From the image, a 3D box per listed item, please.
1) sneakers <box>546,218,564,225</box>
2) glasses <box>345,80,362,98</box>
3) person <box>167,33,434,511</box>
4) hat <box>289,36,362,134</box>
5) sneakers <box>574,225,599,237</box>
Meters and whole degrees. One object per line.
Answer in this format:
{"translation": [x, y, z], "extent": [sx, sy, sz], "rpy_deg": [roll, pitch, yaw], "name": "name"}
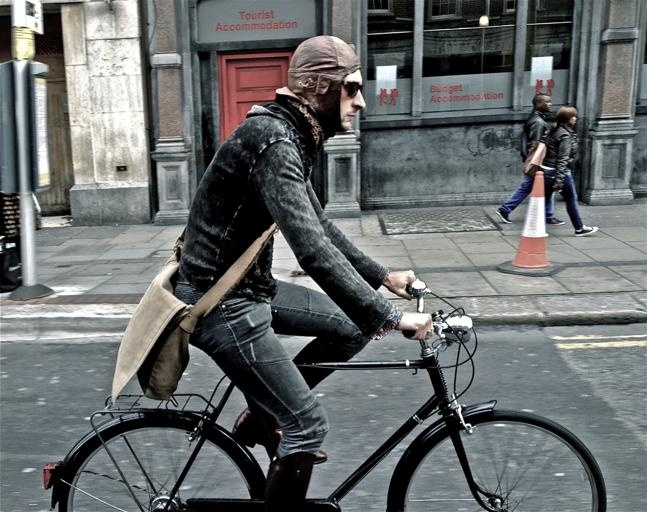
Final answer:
{"translation": [3.179, -0.469, 12.756], "extent": [0.324, 0.078, 0.090], "rpy_deg": [1, 13, 1], "name": "sneakers"}
{"translation": [0.171, -0.966, 5.376], "extent": [0.122, 0.078, 0.041], "rpy_deg": [1, 16, -12], "name": "glasses"}
{"translation": [-0.172, 0.106, 5.449], "extent": [1.394, 2.772, 0.697], "rpy_deg": [-3, 13, -6], "name": "person"}
{"translation": [-0.003, -0.999, 5.321], "extent": [0.683, 0.562, 0.575], "rpy_deg": [-2, 18, -3], "name": "hat"}
{"translation": [3.395, -0.319, 11.992], "extent": [0.459, 0.123, 0.114], "rpy_deg": [-8, 32, -3], "name": "sneakers"}
